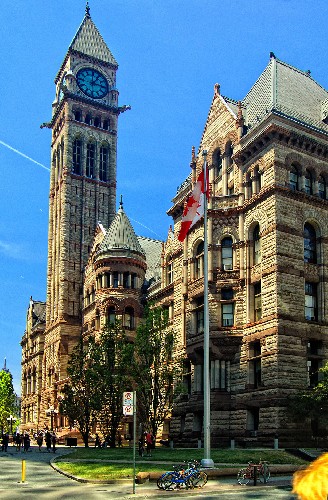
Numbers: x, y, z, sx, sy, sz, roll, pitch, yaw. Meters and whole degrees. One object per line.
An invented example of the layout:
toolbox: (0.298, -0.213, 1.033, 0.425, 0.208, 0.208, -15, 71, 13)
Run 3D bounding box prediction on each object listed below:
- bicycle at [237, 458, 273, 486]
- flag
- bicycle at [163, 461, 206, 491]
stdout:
bicycle: (3.591, 9.143, 36.616, 1.330, 1.162, 2.467, -1, -18, 5)
flag: (1.483, -2.340, 42.026, 1.153, 4.979, 0.509, -7, -32, 40)
bicycle: (0.816, 8.838, 34.764, 1.101, 1.146, 2.321, -10, -21, 28)
